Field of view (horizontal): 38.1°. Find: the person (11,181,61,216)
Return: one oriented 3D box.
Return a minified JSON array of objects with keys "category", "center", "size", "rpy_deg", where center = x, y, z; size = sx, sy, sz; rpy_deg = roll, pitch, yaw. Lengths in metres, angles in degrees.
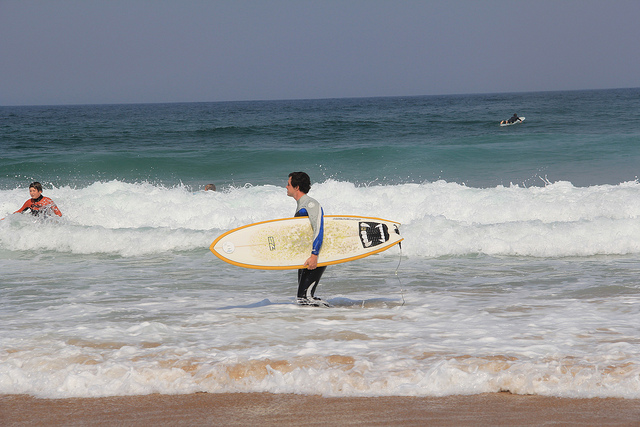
[{"category":"person","center":[-6.381,-0.317,20.920],"size":[0.943,0.504,0.521],"rpy_deg":[-1,1,-14]}]

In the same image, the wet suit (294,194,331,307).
[{"category":"wet suit","center":[-0.148,0.685,16.520],"size":[0.587,2.044,0.830],"rpy_deg":[-1,1,-1]}]

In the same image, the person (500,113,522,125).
[{"category":"person","center":[9.066,-4.449,43.817],"size":[0.735,0.323,1.020],"rpy_deg":[5,13,31]}]
